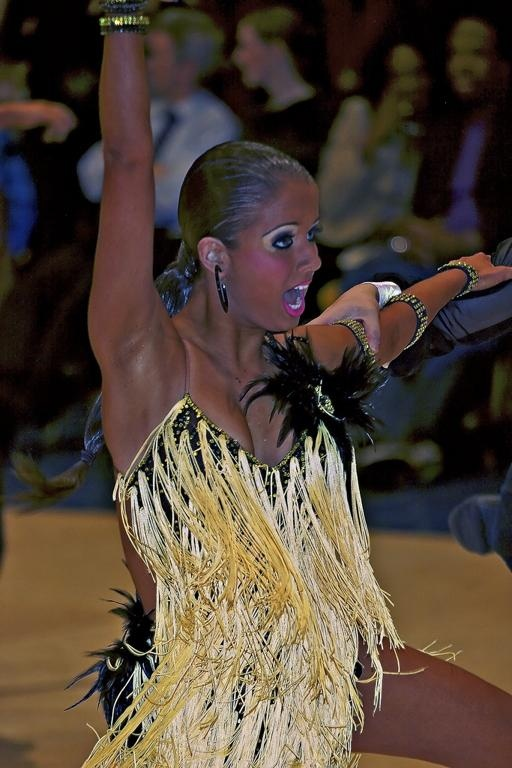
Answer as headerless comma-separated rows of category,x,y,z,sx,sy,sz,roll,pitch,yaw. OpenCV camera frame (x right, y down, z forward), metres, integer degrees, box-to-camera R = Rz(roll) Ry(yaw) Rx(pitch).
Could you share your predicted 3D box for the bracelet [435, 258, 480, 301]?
bracelet,0.492,-0.257,2.723,0.090,0.089,0.044,16,-19,-10
